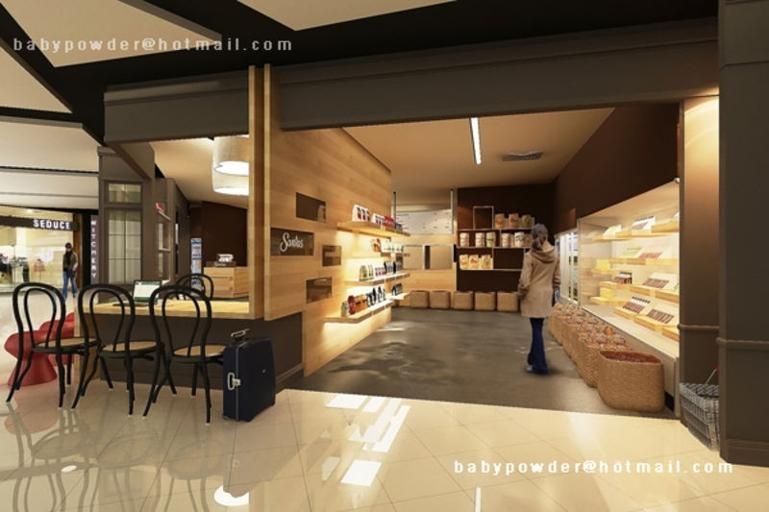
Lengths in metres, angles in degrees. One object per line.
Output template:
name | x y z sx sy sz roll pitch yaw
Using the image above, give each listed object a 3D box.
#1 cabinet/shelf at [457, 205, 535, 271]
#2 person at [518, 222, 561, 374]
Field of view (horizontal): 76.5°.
cabinet/shelf | 2.594 -0.395 11.203 1.570 1.338 0.463 2 4 20
person | 2.047 0.546 6.572 0.496 1.943 0.600 2 5 28
